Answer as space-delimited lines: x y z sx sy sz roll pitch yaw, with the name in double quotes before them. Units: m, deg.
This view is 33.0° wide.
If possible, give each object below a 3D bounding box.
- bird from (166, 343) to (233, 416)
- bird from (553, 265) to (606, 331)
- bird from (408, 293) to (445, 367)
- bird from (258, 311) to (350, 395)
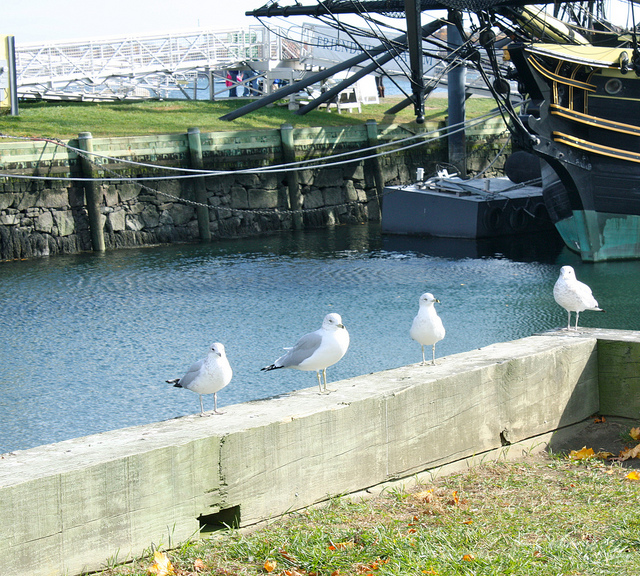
"bird" -0.993 0.690 8.914 0.463 0.502 0.226 5 16 29
"bird" 2.658 0.139 11.268 0.406 0.579 0.907 -3 -9 44
"bird" 0.983 0.365 9.965 0.298 0.562 0.532 -2 12 1
"bird" -0.092 0.576 9.168 0.963 0.568 0.473 -7 -8 40
